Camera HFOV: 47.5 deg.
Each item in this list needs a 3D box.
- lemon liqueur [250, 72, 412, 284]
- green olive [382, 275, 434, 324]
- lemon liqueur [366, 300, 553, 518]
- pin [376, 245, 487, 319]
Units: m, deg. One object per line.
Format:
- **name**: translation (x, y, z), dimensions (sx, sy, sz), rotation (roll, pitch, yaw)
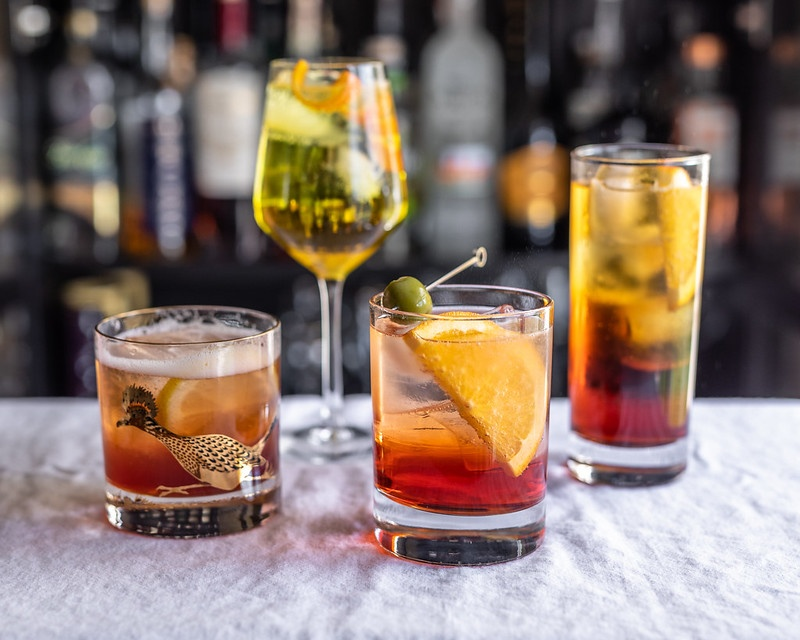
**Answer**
- **lemon liqueur**: translation (-0.082, -0.149, 0.960), dimensions (0.182, 0.216, 0.171), rotation (6, 12, 28)
- **green olive**: translation (0.009, -0.017, 0.728), dimensions (0.043, 0.029, 0.030), rotation (5, -19, 27)
- **lemon liqueur**: translation (0.076, 0.078, 0.774), dimensions (0.186, 0.167, 0.171), rotation (0, 4, -3)
- **pin**: translation (0.035, -0.030, 0.708), dimensions (0.047, 0.037, 0.100), rotation (-12, -10, -28)
